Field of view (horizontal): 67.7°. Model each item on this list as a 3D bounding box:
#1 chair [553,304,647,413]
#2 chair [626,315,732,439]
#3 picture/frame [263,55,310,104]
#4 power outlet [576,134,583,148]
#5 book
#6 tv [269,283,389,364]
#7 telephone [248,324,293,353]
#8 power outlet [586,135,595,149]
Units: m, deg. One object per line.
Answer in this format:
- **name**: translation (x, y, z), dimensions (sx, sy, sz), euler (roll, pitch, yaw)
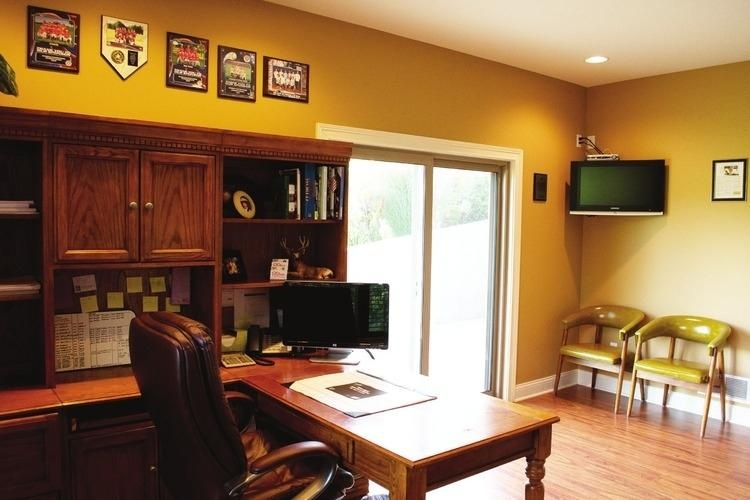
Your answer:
- **chair**: translation (2.439, 1.123, 5.925), dimensions (0.662, 0.953, 0.730), euler (-3, 4, -32)
- **chair**: translation (2.987, 1.192, 5.432), dimensions (0.834, 0.998, 0.802), euler (9, 14, 33)
- **picture/frame**: translation (-0.714, -1.333, 4.380), dimensions (0.430, 0.309, 0.043), euler (0, -1, -33)
- **power outlet**: translation (2.315, -1.224, 6.306), dimensions (0.096, 0.146, 0.069), euler (1, 12, -2)
- **book**: translation (-0.487, -0.381, 4.296), dimensions (0.398, 0.512, 0.526), euler (-2, 4, -15)
- **tv**: translation (-0.343, 0.523, 4.079), dimensions (0.608, 0.397, 0.160), euler (0, 5, 1)
- **telephone**: translation (-0.810, 0.659, 4.217), dimensions (0.235, 0.138, 0.234), euler (2, 0, -4)
- **power outlet**: translation (2.458, -1.219, 6.335), dimensions (0.094, 0.161, 0.039), euler (1, -15, 8)
